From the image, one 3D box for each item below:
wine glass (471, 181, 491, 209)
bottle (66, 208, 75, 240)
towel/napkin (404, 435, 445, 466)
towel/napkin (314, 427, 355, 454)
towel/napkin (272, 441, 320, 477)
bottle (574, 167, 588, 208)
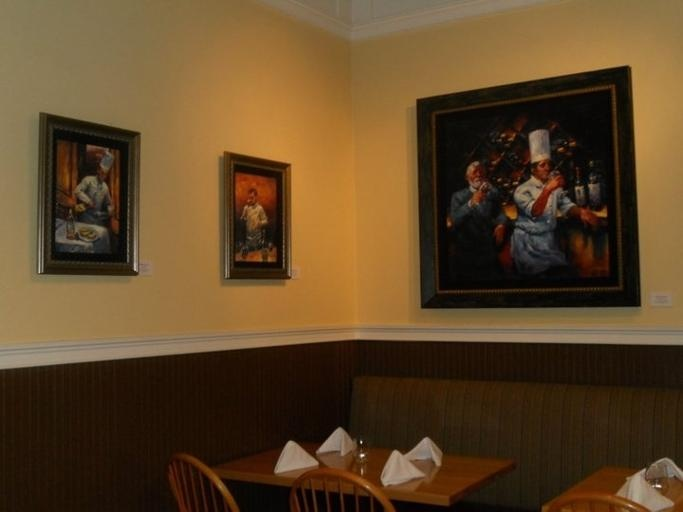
[{"bbox_3d":[1.116,-0.511,4.957,0.065,0.145,0.190,13,-37,-24],"label":"wine glass"},{"bbox_3d":[-1.602,-0.194,3.615,0.013,0.182,0.054,-1,-1,36],"label":"bottle"},{"bbox_3d":[0.569,1.278,4.067,0.140,0.112,0.213,-2,-3,35],"label":"towel/napkin"},{"bbox_3d":[-0.044,1.299,4.273,0.197,0.170,0.216,6,0,17],"label":"towel/napkin"},{"bbox_3d":[-0.320,1.316,3.999,0.186,0.125,0.191,3,-17,-29],"label":"towel/napkin"},{"bbox_3d":[1.802,-0.526,4.609,0.092,0.301,0.018,-1,-1,34],"label":"bottle"}]
